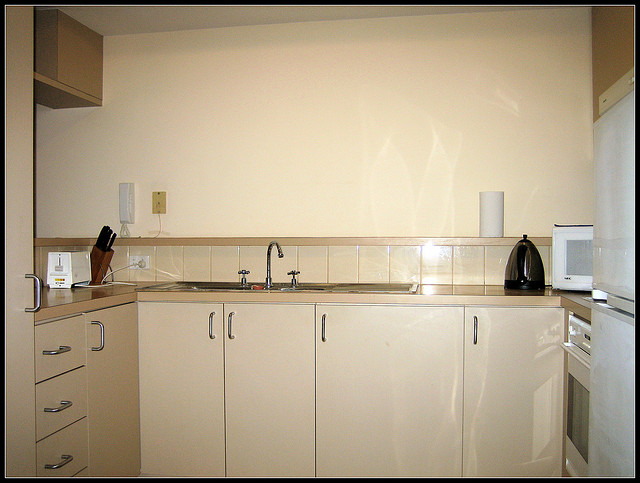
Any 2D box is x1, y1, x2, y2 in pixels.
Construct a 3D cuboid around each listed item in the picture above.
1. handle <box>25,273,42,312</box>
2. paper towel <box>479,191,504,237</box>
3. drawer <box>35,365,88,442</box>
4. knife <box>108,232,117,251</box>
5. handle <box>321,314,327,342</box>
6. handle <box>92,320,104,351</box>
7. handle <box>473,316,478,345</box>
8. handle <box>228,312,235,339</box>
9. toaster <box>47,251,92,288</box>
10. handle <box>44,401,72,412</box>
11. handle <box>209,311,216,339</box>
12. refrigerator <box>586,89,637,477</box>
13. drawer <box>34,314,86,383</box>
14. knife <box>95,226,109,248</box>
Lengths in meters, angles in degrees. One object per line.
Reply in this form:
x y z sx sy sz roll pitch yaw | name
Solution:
-1.301 0.236 2.301 0.064 0.179 0.182 -1 0 -31 | handle
1.123 -0.198 3.334 0.177 0.328 0.182 -1 -9 24 | paper towel
-1.258 0.774 2.479 0.205 0.230 0.319 0 2 12 | drawer
-1.364 -0.005 3.364 0.029 0.086 0.062 16 -2 -2 | knife
0.024 0.494 2.902 0.033 0.157 0.007 0 1 1 | handle
-1.167 0.498 2.669 0.055 0.167 0.094 -1 0 -27 | handle
0.865 0.494 2.826 0.026 0.152 0.007 0 1 -6 | handle
-0.516 0.488 2.957 0.037 0.152 0.009 0 1 -11 | handle
-1.634 0.159 3.279 0.135 0.225 0.251 2 9 -7 | toaster
-1.249 0.793 2.439 0.057 0.036 0.133 0 0 19 | handle
-0.627 0.490 2.965 0.036 0.153 0.012 0 1 -15 | handle
1.080 0.197 1.908 0.121 1.436 0.391 0 0 16 | refrigerator
-1.268 0.504 2.483 0.203 0.226 0.313 0 0 6 | drawer
-1.421 -0.026 3.350 0.067 0.130 0.030 19 -2 38 | knife
